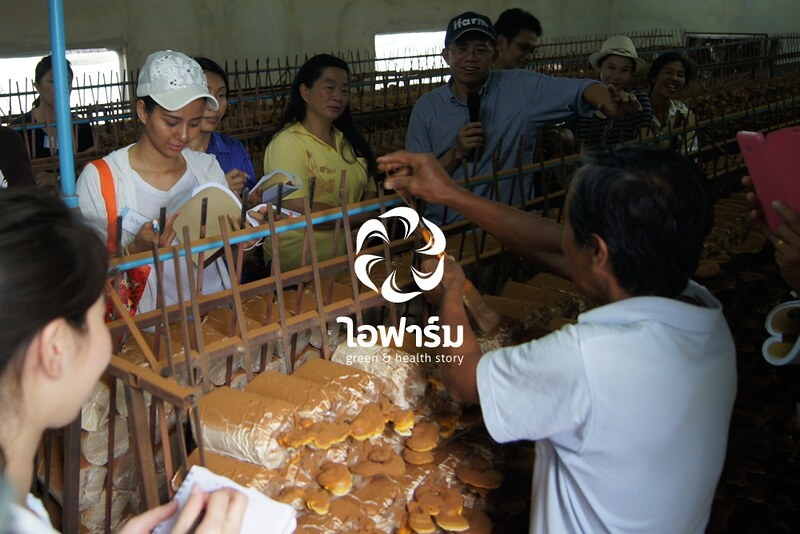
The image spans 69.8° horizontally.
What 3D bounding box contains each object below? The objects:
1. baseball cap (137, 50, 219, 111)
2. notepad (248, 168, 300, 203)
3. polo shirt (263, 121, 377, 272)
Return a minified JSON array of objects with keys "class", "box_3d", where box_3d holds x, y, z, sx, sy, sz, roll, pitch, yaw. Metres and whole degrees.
[{"class":"baseball cap","box_3d":[-1.002,-0.833,2.565,0.336,0.217,0.241,24,30,35]},{"class":"notepad","box_3d":[-0.607,-0.384,2.720,0.211,0.086,0.222,-24,12,31]},{"class":"polo shirt","box_3d":[-0.437,-0.366,3.005,0.746,0.920,0.447,-7,11,-42]}]
